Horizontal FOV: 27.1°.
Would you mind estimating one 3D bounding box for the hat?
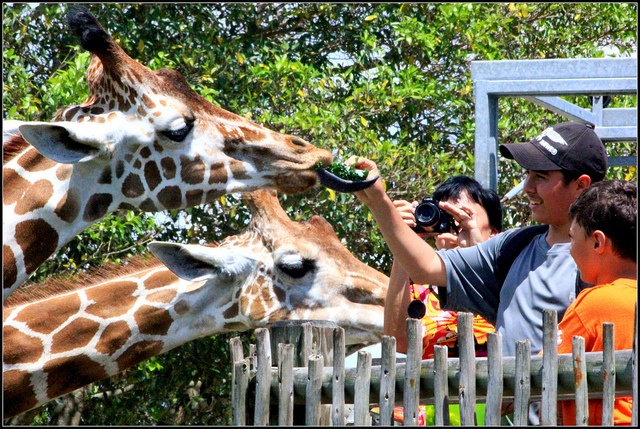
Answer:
[{"bbox_3d":[1.747,-0.443,9.613,0.645,0.307,0.394,19,7,-2],"label":"hat"}]

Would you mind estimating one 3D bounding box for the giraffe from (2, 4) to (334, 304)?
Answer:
[{"bbox_3d":[-1.715,-0.737,10.733,3.329,1.829,1.423,-9,22,-14],"label":"giraffe"}]
